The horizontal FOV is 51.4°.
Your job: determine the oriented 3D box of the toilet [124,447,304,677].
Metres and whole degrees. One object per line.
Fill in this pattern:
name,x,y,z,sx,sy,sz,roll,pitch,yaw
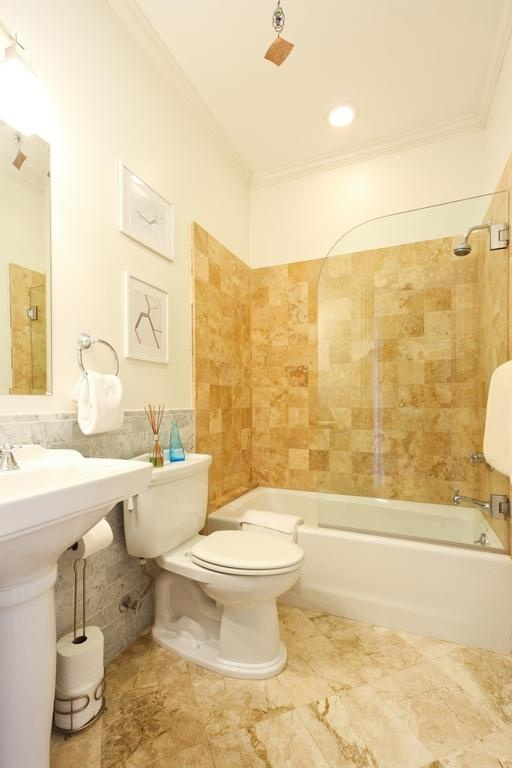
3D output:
toilet,-0.116,0.668,2.172,0.695,0.860,0.544,-2,-1,24

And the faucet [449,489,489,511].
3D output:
faucet,0.890,0.470,2.186,0.038,0.061,0.126,7,6,-38

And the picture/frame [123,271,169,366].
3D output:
picture/frame,-0.450,-0.268,2.144,0.016,0.472,0.364,2,1,20

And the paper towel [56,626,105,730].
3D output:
paper towel,-0.549,0.915,1.658,0.138,0.246,0.189,4,7,25

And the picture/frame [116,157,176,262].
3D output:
picture/frame,-0.440,-0.696,2.182,0.064,0.343,0.378,2,9,16

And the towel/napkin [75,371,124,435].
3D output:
towel/napkin,-0.518,0.066,1.780,0.092,0.218,0.168,-4,-7,33
